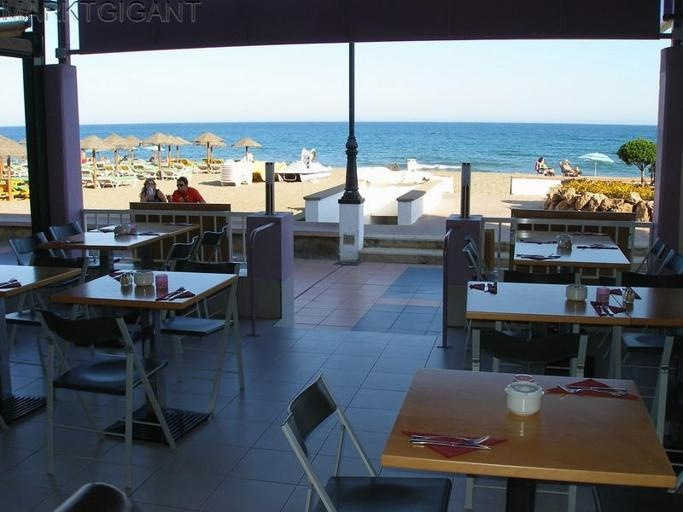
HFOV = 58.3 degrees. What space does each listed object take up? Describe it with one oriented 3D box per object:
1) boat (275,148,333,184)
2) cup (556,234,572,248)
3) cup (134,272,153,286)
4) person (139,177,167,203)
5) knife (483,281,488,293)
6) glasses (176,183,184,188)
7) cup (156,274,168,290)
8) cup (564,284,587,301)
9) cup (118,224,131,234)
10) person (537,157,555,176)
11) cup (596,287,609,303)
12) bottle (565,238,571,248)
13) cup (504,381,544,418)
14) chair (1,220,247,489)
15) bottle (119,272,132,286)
[{"bbox_3d":[-1.641,-4.003,27.082,1.423,1.099,3.015,3,8,16],"label":"boat"},{"bbox_3d":[2.186,-0.154,6.008,0.122,0.116,0.120,0,2,0],"label":"cup"},{"bbox_3d":[-1.432,0.163,4.391,0.108,0.080,0.108,0,2,0],"label":"cup"},{"bbox_3d":[-2.733,-0.965,8.834,0.334,0.323,0.720,-4,13,-17],"label":"person"},{"bbox_3d":[1.057,0.220,4.486,0.043,0.060,0.016,-2,-13,-7],"label":"knife"},{"bbox_3d":[-2.327,-1.028,8.771,0.067,0.069,0.024,-2,-12,-2],"label":"glasses"},{"bbox_3d":[-1.262,0.187,4.324,0.095,0.106,0.095,0,1,0],"label":"cup"},{"bbox_3d":[1.598,0.246,4.169,0.112,0.079,0.112,0,5,0],"label":"cup"},{"bbox_3d":[-2.434,-0.300,6.806,0.100,0.078,0.110,1,3,7],"label":"cup"},{"bbox_3d":[11.749,-5.173,35.291,0.879,0.962,3.843,4,13,17],"label":"person"},{"bbox_3d":[1.731,0.258,4.082,0.090,0.103,0.091,0,1,0],"label":"cup"},{"bbox_3d":[2.208,-0.125,5.963,0.076,0.102,0.074,-1,0,0],"label":"bottle"},{"bbox_3d":[0.797,0.619,2.677,0.141,0.095,0.141,-2,11,0],"label":"cup"},{"bbox_3d":[-1.425,0.657,4.509,0.913,1.233,1.760,3,10,10],"label":"chair"},{"bbox_3d":[-1.557,0.161,4.450,0.072,0.097,0.102,11,16,36],"label":"bottle"}]
